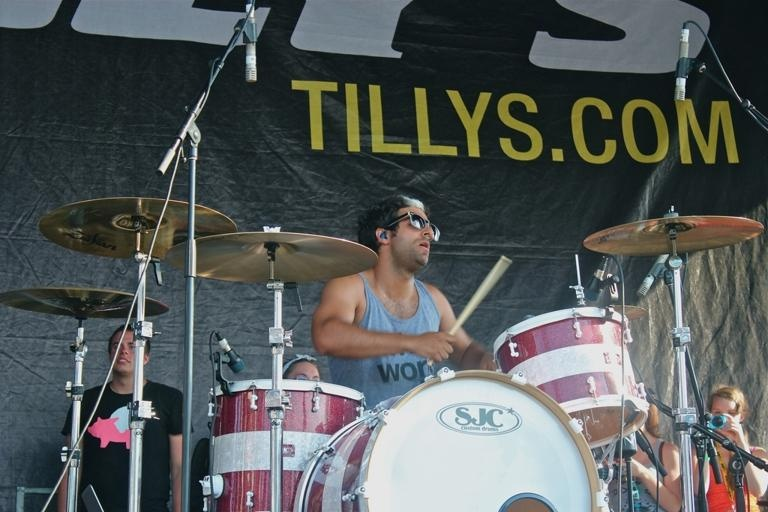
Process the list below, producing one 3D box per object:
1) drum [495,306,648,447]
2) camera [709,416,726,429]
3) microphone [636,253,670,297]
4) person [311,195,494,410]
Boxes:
[{"bbox_3d":[1.393,0.806,13.727,1.119,0.733,1.052,-15,-31,-9],"label":"drum"},{"bbox_3d":[2.352,1.165,13.425,0.109,0.076,0.093,0,-4,11],"label":"camera"},{"bbox_3d":[2.043,0.144,14.501,0.098,0.346,0.097,38,-4,32],"label":"microphone"},{"bbox_3d":[0.144,0.305,14.521,1.473,1.464,1.136,1,2,-20],"label":"person"}]
